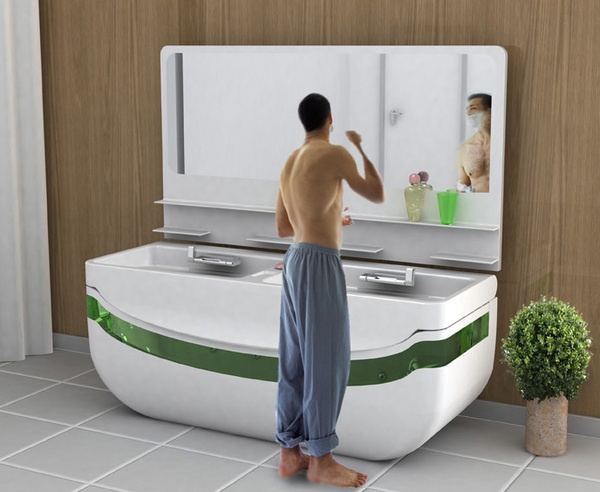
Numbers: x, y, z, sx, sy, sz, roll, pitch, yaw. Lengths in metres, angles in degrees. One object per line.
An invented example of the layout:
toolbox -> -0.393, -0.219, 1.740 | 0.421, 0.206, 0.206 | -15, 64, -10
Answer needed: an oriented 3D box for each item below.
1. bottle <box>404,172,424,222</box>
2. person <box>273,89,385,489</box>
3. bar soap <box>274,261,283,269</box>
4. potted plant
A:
bottle -> 0.571, -0.240, 3.003 | 0.096, 0.239, 0.059 | 4, 9, 26
person -> 0.098, 0.194, 2.466 | 0.453, 1.587, 0.366 | 2, 9, 14
bar soap -> -0.095, 0.093, 2.998 | 0.033, 0.030, 0.126 | 17, -8, -13
potted plant -> 1.115, 0.606, 2.741 | 0.330, 0.698, 0.269 | -6, 10, -31
